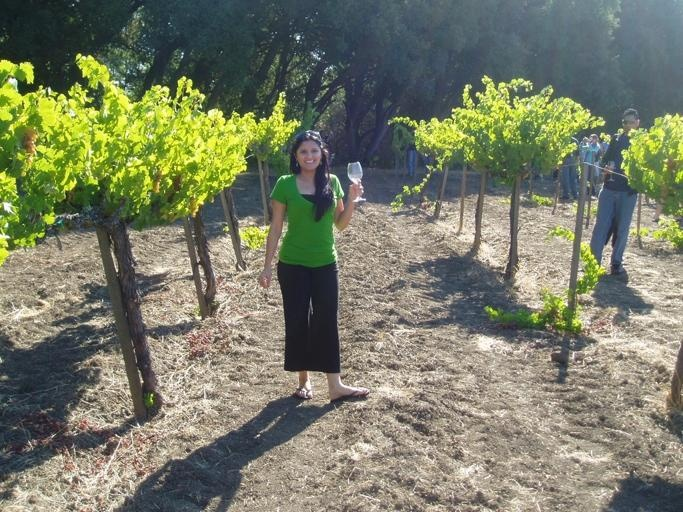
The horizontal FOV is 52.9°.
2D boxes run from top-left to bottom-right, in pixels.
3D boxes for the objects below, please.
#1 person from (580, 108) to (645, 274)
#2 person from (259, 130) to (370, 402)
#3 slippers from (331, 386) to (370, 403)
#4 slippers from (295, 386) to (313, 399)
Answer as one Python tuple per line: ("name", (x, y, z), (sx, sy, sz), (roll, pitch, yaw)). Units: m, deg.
("person", (4.534, -1.002, 11.250), (0.637, 2.696, 1.123), (7, 13, 22))
("person", (-0.328, 0.164, 7.497), (1.048, 2.962, 0.403), (1, 12, -4))
("slippers", (0.110, 1.521, 7.766), (0.373, 0.109, 0.172), (-9, 14, -11))
("slippers", (-0.416, 1.574, 7.824), (0.157, 0.127, 0.070), (0, -4, 3))
